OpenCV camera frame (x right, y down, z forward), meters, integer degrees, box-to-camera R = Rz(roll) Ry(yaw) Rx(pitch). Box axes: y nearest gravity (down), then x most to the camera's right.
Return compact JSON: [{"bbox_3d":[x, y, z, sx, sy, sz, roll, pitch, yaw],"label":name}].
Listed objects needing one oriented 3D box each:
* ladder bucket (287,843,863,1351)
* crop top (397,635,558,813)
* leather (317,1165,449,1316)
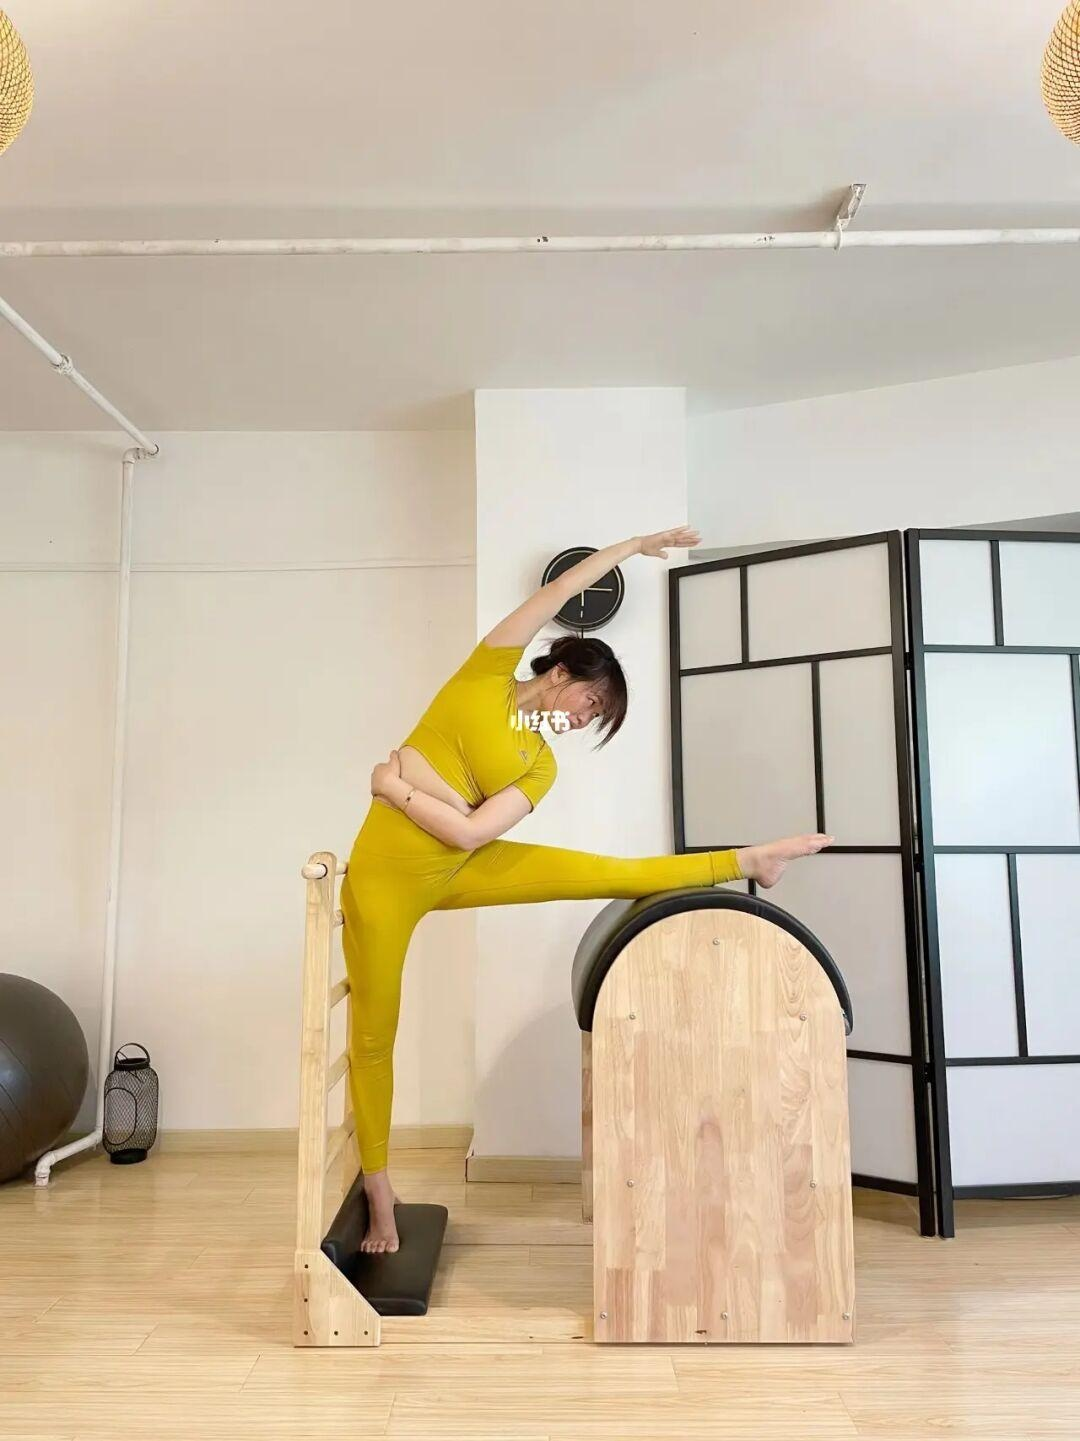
[{"bbox_3d":[0.071,0.814,3.058,1.169,0.888,0.998,-1,-3,1],"label":"ladder bucket"},{"bbox_3d":[-0.146,0.013,2.917,0.341,0.364,0.175,0,-5,0],"label":"crop top"},{"bbox_3d":[-0.341,1.094,2.864,0.211,0.108,0.491,1,-3,-2],"label":"leather"}]
